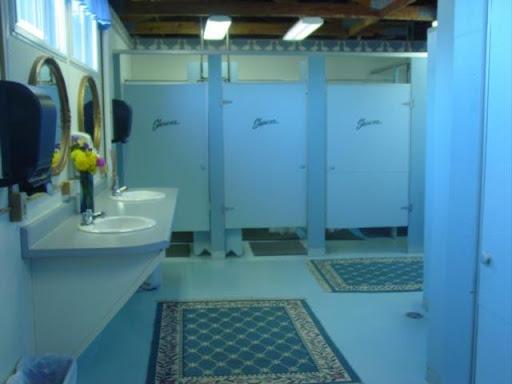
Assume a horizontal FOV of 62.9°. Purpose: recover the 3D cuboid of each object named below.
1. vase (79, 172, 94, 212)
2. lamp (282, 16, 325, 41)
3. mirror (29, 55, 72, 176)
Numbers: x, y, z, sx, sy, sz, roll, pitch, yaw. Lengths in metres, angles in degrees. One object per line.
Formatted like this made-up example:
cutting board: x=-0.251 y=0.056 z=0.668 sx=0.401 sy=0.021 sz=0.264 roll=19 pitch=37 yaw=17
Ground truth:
vase: x=-1.273 y=0.001 z=3.146 sx=0.097 sy=0.291 sz=0.253 roll=2 pitch=10 yaw=-23
lamp: x=0.553 y=-2.036 z=5.202 sx=0.274 sy=0.184 sz=1.000 roll=5 pitch=10 yaw=-9
mirror: x=-1.432 y=-0.525 z=2.933 sx=0.147 sy=0.814 sz=0.564 roll=4 pitch=10 yaw=-11
